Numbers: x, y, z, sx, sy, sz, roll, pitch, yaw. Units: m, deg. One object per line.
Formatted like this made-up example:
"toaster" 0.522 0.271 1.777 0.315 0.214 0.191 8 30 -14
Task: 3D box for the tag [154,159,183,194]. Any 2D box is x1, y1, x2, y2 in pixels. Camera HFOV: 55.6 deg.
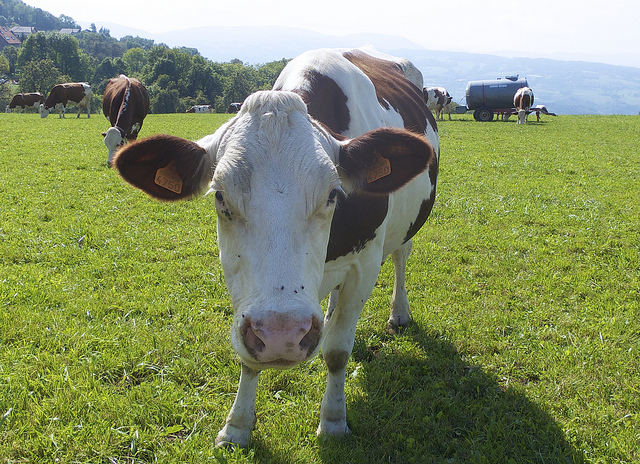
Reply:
"tag" -1.632 -0.640 6.583 0.303 0.446 0.008 21 42 -8

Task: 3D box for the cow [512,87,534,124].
"cow" 14.351 -8.781 42.694 1.260 2.666 4.872 4 24 20

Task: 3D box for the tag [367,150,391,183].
"tag" 0.636 -0.741 6.699 0.242 0.295 0.025 -31 41 -9

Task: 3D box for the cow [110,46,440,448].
"cow" 0.373 -0.288 8.465 3.022 4.613 5.871 9 15 28

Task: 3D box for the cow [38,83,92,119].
"cow" -16.970 -8.752 40.509 1.164 2.435 4.172 13 21 32
